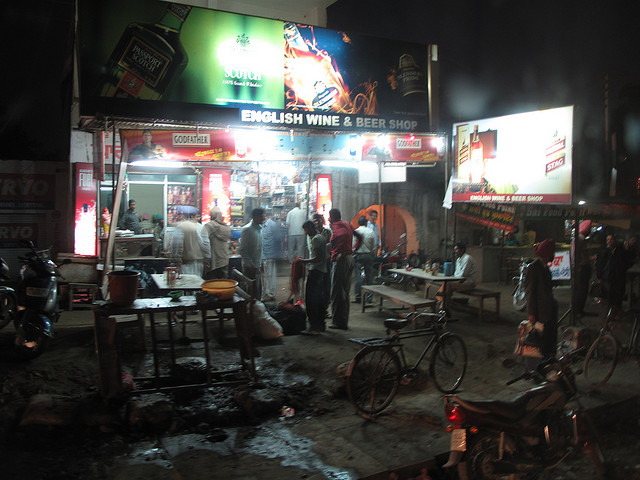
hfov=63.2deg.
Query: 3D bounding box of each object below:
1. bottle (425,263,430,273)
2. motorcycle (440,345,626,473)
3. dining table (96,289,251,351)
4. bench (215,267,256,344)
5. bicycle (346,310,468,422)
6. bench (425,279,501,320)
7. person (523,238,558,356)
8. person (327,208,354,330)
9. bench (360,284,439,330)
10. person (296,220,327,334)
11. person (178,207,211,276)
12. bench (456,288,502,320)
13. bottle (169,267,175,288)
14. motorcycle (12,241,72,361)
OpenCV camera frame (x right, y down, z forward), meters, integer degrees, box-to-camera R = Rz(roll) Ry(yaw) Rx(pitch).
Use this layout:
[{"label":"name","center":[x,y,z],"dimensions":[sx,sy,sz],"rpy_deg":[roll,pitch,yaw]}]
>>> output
[{"label":"bottle","center":[2.590,0.680,12.633],"dimensions":[0.104,0.169,0.255],"rpy_deg":[1,3,11]},{"label":"motorcycle","center":[2.547,2.354,6.955],"dimensions":[2.852,1.492,1.293],"rpy_deg":[-5,-10,-23]},{"label":"dining table","center":[-2.209,1.238,8.101],"dimensions":[2.198,0.991,1.398],"rpy_deg":[-1,3,-15]},{"label":"bench","center":[-1.668,0.986,9.107],"dimensions":[0.565,0.800,1.662],"rpy_deg":[7,3,-22]},{"label":"bicycle","center":[1.404,1.835,7.868],"dimensions":[2.818,1.328,1.007],"rpy_deg":[2,-5,-41]},{"label":"bench","center":[3.308,1.279,12.366],"dimensions":[1.613,0.451,0.437],"rpy_deg":[10,5,-4]},{"label":"person","center":[3.413,0.884,8.074],"dimensions":[0.520,1.776,0.634],"rpy_deg":[1,3,23]},{"label":"person","center":[0.390,0.602,10.703],"dimensions":[0.495,2.476,0.481],"rpy_deg":[-1,3,-26]},{"label":"bench","center":[1.623,1.471,11.467],"dimensions":[0.659,0.593,2.126],"rpy_deg":[-2,6,-27]},{"label":"person","center":[-0.123,0.872,10.276],"dimensions":[0.528,1.942,0.249],"rpy_deg":[-1,3,-12]},{"label":"person","center":[-2.761,0.049,11.366],"dimensions":[0.736,1.499,0.343],"rpy_deg":[-1,3,-26]},{"label":"bench","center":[3.644,1.443,12.018],"dimensions":[0.548,0.602,1.770],"rpy_deg":[20,-17,-28]},{"label":"bottle","center":[-2.559,0.621,8.950],"dimensions":[0.089,0.252,0.290],"rpy_deg":[-1,3,-17]},{"label":"motorcycle","center":[-5.206,0.816,9.423],"dimensions":[0.919,1.729,2.647],"rpy_deg":[11,13,-32]}]
